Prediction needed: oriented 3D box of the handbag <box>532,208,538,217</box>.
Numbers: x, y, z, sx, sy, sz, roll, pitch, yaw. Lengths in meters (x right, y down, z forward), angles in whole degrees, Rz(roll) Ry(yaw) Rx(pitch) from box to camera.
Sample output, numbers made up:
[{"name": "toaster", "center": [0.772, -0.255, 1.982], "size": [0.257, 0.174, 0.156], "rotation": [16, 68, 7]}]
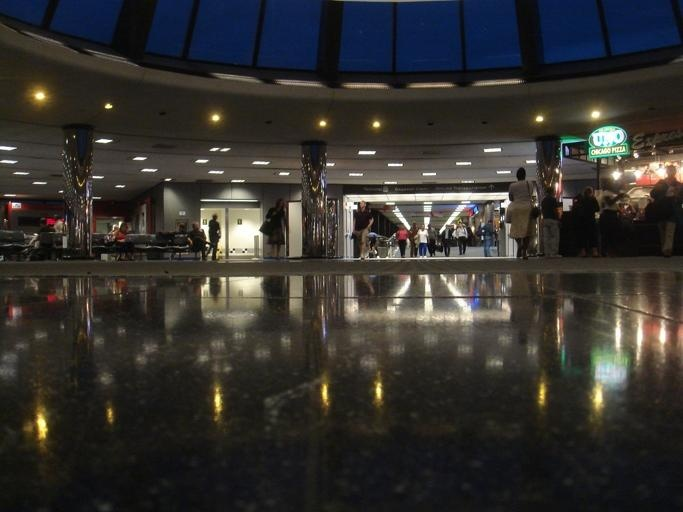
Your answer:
[{"name": "handbag", "center": [3.407, -0.782, 9.335], "size": [0.108, 0.120, 0.206], "rotation": [-4, -12, 15]}]

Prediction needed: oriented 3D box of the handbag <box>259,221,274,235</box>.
[{"name": "handbag", "center": [-1.797, -0.689, 12.653], "size": [0.196, 0.327, 0.421], "rotation": [0, 1, -30]}]
